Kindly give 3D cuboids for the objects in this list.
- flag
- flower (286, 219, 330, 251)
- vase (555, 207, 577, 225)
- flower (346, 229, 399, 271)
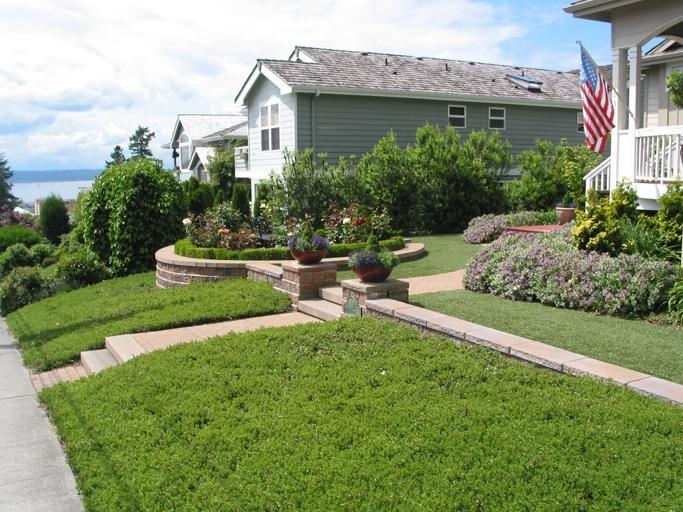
[{"bbox_3d":[5.386,-3.376,12.698,0.954,2.216,0.418,-4,7,-25],"label":"flag"},{"bbox_3d":[-0.700,-0.513,12.226,0.755,1.000,1.098,-1,-3,0],"label":"flower"},{"bbox_3d":[6.294,-1.140,16.707,0.658,0.564,0.694,2,6,30],"label":"vase"},{"bbox_3d":[0.569,-0.096,10.212,0.619,0.590,0.642,1,4,38],"label":"flower"}]
